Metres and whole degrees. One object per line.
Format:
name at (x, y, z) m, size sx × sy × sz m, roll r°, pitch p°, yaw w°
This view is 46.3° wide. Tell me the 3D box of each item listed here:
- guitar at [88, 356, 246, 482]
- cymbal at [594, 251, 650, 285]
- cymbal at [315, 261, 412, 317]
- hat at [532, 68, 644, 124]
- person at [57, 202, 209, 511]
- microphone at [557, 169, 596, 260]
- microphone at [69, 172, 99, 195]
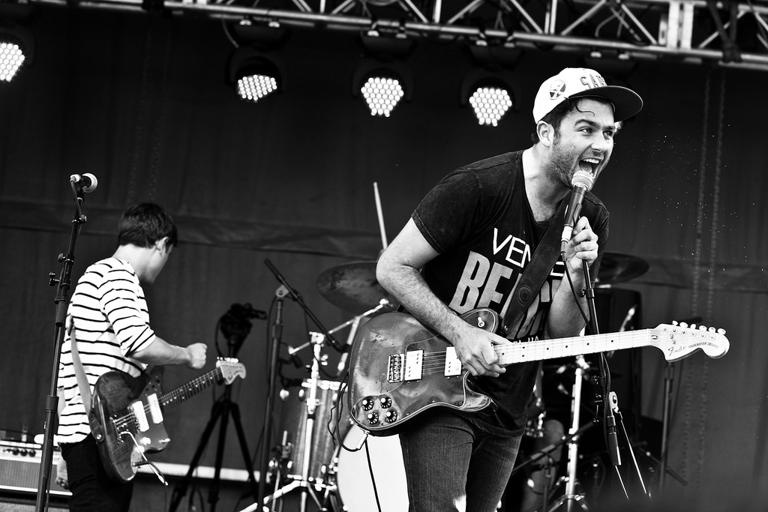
guitar at (-1.731, 1.130, 7.364) m, size 1.460 × 0.796 × 0.168 m, roll -27°, pitch 4°, yaw -43°
cymbal at (2.385, 0.126, 8.938) m, size 0.479 × 0.134 × 0.543 m, roll 8°, pitch -27°, yaw -10°
cymbal at (-0.285, 0.263, 8.015) m, size 0.503 × 0.134 × 0.527 m, roll 32°, pitch -45°, yaw -11°
hat at (1.337, -1.103, 5.971) m, size 0.436 × 0.399 × 0.664 m, roll 2°, pitch -8°, yaw -33°
person at (-2.021, 0.737, 6.998) m, size 0.948 × 2.394 × 0.506 m, roll 6°, pitch -8°, yaw -24°
microphone at (1.251, -0.300, 5.776) m, size 0.214 × 0.595 × 0.246 m, roll 2°, pitch -8°, yaw 1°
microphone at (-2.337, -0.570, 7.014) m, size 0.167 × 0.170 × 0.164 m, roll 4°, pitch -9°, yaw -9°
